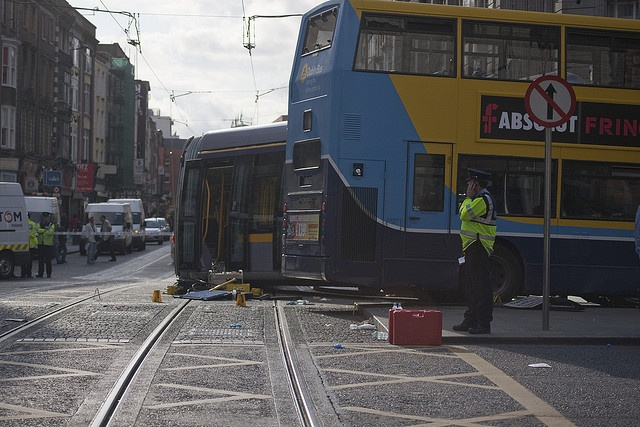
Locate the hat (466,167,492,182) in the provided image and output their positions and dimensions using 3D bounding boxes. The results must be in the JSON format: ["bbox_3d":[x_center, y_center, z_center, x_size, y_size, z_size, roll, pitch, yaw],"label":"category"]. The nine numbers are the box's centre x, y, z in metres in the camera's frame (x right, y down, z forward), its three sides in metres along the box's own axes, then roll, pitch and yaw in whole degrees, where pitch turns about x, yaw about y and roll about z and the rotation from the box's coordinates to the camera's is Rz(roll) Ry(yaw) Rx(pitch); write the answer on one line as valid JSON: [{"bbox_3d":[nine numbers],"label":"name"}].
[{"bbox_3d":[2.743,-0.655,13.246,0.479,0.188,0.394,2,-1,-2],"label":"hat"}]

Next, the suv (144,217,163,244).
[{"bbox_3d":[-11.919,1.035,54.663,1.261,1.369,2.746,0,12,-5],"label":"suv"}]

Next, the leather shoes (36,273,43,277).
[{"bbox_3d":[-9.336,2.035,25.591,0.197,0.172,0.637,0,4,-20],"label":"leather shoes"}]

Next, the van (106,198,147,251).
[{"bbox_3d":[-11.154,0.483,45.035,1.823,1.897,3.761,-1,-4,1],"label":"van"}]

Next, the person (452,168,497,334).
[{"bbox_3d":[2.628,0.649,13.124,0.612,2.789,0.560,2,4,13],"label":"person"}]

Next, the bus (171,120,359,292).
[{"bbox_3d":[-0.924,-0.290,19.820,5.333,3.971,3.060,0,4,36],"label":"bus"}]

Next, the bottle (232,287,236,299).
[{"bbox_3d":[-1.917,1.796,17.134,0.051,0.203,0.156,3,6,-31],"label":"bottle"}]

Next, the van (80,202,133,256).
[{"bbox_3d":[-11.100,0.636,40.171,2.133,1.997,3.695,0,-5,-2],"label":"van"}]

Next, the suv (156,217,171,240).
[{"bbox_3d":[-12.140,1.127,58.952,1.215,1.106,2.467,0,-5,-6],"label":"suv"}]

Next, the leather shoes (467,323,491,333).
[{"bbox_3d":[2.663,1.954,13.023,0.360,0.160,0.143,2,-6,-1],"label":"leather shoes"}]
